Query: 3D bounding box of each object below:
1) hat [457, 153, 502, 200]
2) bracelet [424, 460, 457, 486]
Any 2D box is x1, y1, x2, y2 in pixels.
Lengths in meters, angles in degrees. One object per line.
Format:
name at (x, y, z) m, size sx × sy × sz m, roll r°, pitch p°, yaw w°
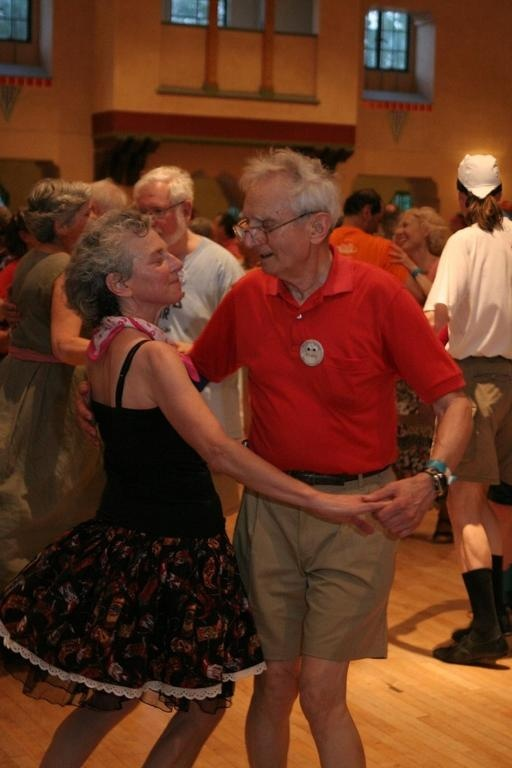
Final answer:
hat at (1.026, -0.938, 2.961) m, size 0.180 × 0.126 × 0.260 m, roll -3°, pitch 36°, yaw 2°
bracelet at (0.401, 0.201, 1.369) m, size 0.063 × 0.024 × 0.050 m, roll 41°, pitch 9°, yaw 1°
